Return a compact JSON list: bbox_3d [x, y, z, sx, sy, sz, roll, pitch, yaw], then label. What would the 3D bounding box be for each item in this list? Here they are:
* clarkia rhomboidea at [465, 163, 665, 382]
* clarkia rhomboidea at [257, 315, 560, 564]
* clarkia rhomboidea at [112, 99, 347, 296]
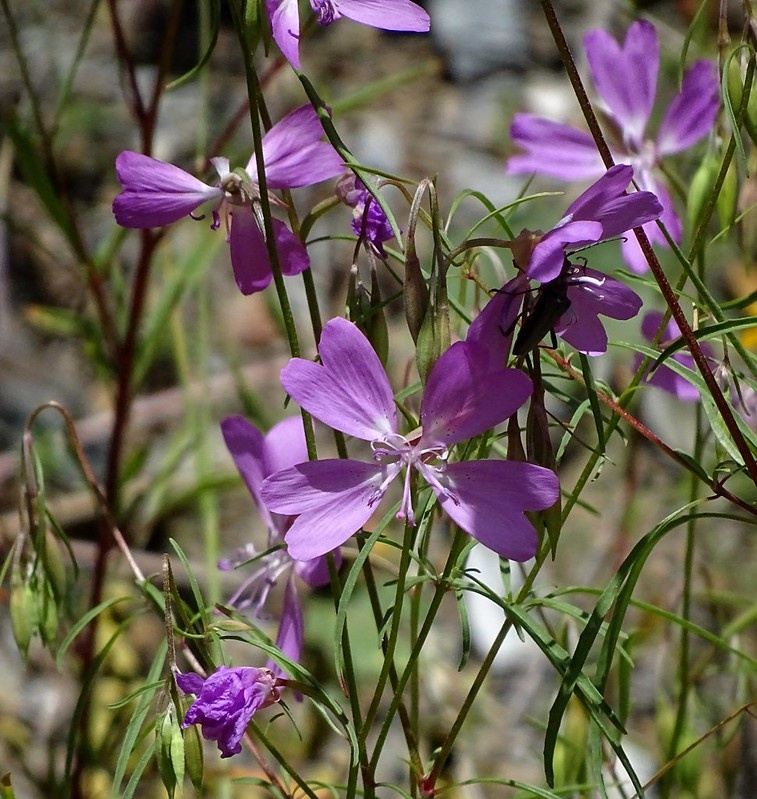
[{"bbox_3d":[0.224,-0.147,1.124,0.218,0.224,0.105,-46,59,-3],"label":"clarkia rhomboidea"},{"bbox_3d":[0.035,0.056,1.086,0.310,0.140,0.284,8,97,6],"label":"clarkia rhomboidea"},{"bbox_3d":[-0.176,-0.256,1.252,0.261,0.192,0.183,8,52,8],"label":"clarkia rhomboidea"}]
